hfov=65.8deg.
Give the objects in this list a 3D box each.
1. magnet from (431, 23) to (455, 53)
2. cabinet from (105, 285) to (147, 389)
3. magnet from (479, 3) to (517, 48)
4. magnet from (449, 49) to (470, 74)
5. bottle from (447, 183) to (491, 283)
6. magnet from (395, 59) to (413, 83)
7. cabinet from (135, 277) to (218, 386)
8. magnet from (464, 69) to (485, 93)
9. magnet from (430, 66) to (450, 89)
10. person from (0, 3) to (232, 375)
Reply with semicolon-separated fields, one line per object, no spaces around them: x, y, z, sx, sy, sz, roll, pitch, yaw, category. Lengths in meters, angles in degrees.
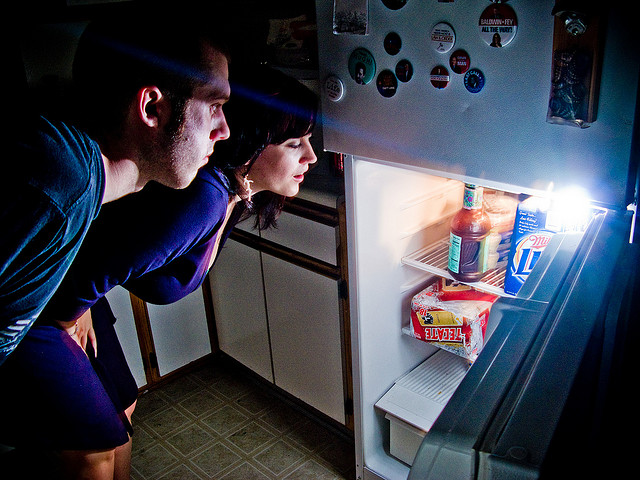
0.270;-0.448;1.094;0.050;0.055;0.053;8;-17;19;magnet
-0.820;0.425;2.128;0.161;0.453;0.155;-6;22;-29;cabinet
0.364;-0.441;1.013;0.015;0.081;0.081;-11;22;-39;magnet
0.305;-0.394;1.083;0.042;0.046;0.010;10;21;44;magnet
0.463;-0.035;1.523;0.117;0.328;0.123;-2;22;1;bottle
0.199;-0.403;1.173;0.009;0.044;0.041;-18;19;-39;magnet
-0.656;0.444;2.280;0.269;0.491;0.248;-14;27;-33;cabinet
0.334;-0.348;1.077;0.042;0.043;0.043;-28;17;37;magnet
0.273;-0.373;1.123;0.045;0.052;0.009;13;27;40;magnet
-0.502;-0.156;1.182;0.357;0.822;0.601;15;20;34;person
